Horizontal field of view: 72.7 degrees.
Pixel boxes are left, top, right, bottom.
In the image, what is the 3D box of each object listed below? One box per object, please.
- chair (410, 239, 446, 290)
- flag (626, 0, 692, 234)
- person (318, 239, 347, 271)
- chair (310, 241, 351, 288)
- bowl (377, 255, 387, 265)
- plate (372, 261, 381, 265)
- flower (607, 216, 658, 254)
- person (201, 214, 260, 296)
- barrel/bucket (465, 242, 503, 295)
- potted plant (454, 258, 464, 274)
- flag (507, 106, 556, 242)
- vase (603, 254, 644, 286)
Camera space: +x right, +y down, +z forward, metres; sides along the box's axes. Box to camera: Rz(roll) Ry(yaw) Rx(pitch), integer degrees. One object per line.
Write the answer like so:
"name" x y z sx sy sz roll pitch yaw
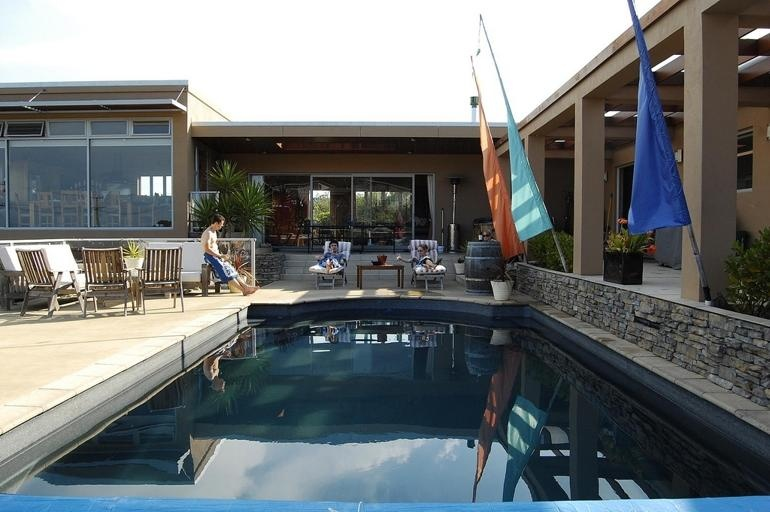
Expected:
"chair" 1.042 0.170 12.903 0.763 1.278 1.662 0 -1 -2
"flag" 3.511 -1.655 6.749 0.875 2.748 0.391 9 13 42
"person" -1.258 -0.016 12.895 0.510 0.424 0.766 1 13 7
"chair" -1.338 0.198 12.937 0.710 0.944 1.334 2 8 7
"bowl" -0.116 0.094 12.784 0.150 0.273 0.243 -1 -2 30
"plate" -0.211 0.178 13.340 0.127 0.105 0.141 0 -4 5
"flower" 4.157 -0.330 8.790 0.899 0.767 0.725 -1 -1 12
"person" -3.221 -0.032 11.023 1.373 1.474 0.564 17 6 1
"barrel/bucket" 2.081 0.259 11.372 0.882 1.363 0.987 1 -4 -3
"potted plant" 1.996 0.289 14.093 0.304 0.268 0.341 1 -4 2
"flag" 2.619 -1.483 9.668 0.458 2.511 1.184 -2 10 -15
"vase" 3.826 0.188 8.476 0.578 0.548 0.501 6 12 28
